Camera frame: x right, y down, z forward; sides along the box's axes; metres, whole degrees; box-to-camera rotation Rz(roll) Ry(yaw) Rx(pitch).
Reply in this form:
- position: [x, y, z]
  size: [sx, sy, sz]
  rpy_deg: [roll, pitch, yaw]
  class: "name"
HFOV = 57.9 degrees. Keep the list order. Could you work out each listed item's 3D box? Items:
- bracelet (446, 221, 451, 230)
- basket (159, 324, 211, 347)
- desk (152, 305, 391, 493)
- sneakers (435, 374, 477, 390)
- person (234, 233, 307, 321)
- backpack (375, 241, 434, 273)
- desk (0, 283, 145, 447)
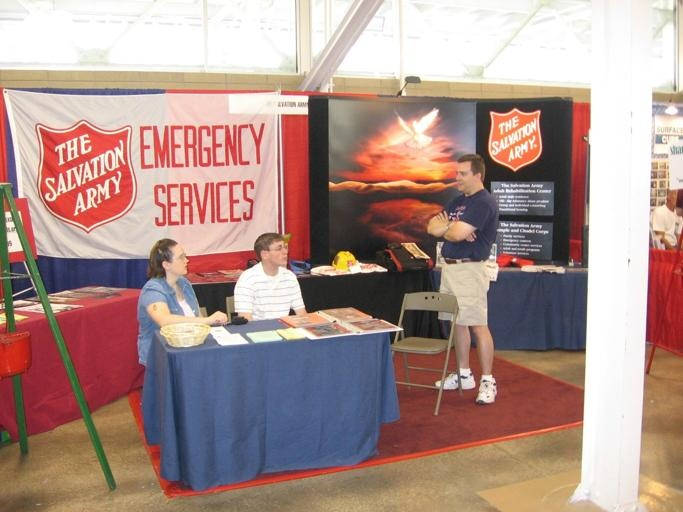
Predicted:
- position: [0.933, -0.265, 5.391]
  size: [0.012, 0.049, 0.047]
  rpy_deg: [20, -7, -20]
  class: "bracelet"
- position: [-1.003, 0.507, 3.974]
  size: [0.296, 0.108, 0.251]
  rpy_deg: [-4, 12, -15]
  class: "basket"
- position: [-0.478, 0.998, 4.379]
  size: [1.750, 0.894, 0.834]
  rpy_deg: [-3, 3, -32]
  class: "desk"
- position: [1.036, 1.133, 5.497]
  size: [0.429, 0.204, 0.159]
  rpy_deg: [0, -2, -2]
  class: "sneakers"
- position: [-0.525, 0.222, 4.774]
  size: [0.564, 0.772, 0.453]
  rpy_deg: [-3, 5, -22]
  class: "person"
- position: [0.661, 0.005, 6.705]
  size: [0.378, 0.169, 0.381]
  rpy_deg: [-1, 19, -15]
  class: "backpack"
- position: [-2.088, 0.880, 4.768]
  size: [0.400, 0.561, 1.110]
  rpy_deg: [1, 11, 13]
  class: "desk"
